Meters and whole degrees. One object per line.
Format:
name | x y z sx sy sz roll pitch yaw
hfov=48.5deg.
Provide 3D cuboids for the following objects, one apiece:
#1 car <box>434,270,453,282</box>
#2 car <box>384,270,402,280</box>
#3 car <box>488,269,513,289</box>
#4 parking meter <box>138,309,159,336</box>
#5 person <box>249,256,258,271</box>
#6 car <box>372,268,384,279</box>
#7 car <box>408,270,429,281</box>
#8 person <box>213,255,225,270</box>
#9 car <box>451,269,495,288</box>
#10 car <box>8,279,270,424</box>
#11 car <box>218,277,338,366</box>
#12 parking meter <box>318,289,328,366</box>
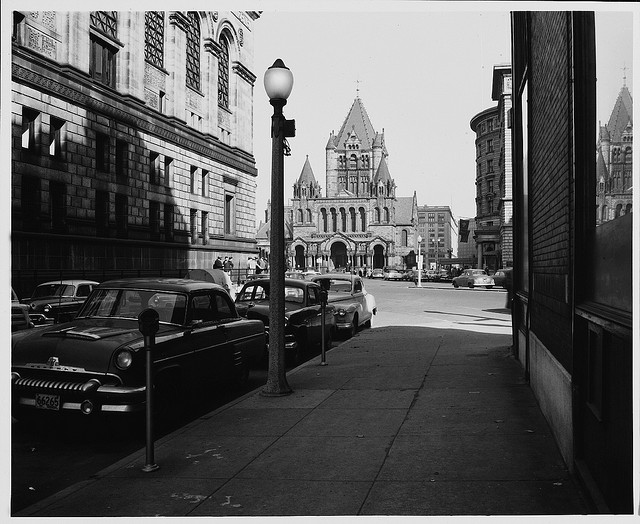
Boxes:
car | 12.415 1.394 70.892 1.126 1.120 2.217 1 1 13
car | 7.624 1.412 74.804 1.630 0.834 2.975 -1 4 3
car | 9.551 0.904 37.743 0.929 0.982 2.502 1 3 2
parking meter | -1.667 0.585 6.888 0.181 0.277 0.154 -3 4 -24
person | -3.680 0.080 39.062 0.323 1.302 0.608 -3 9 -38
car | 8.062 1.630 99.128 0.981 0.962 2.687 1 3 5
car | 9.208 1.233 66.813 0.946 0.773 1.587 1 0 -30
person | -5.359 0.011 37.229 0.566 1.313 0.703 -2 4 -23
car | 10.239 1.111 47.542 1.055 1.000 2.530 1 0 -10
car | -2.413 1.094 9.092 1.711 1.664 2.980 0 4 17
car | -0.741 1.062 14.269 1.660 1.609 3.265 0 1 19
parking meter | 0.048 1.184 13.201 0.225 1.407 0.244 -3 5 -19
